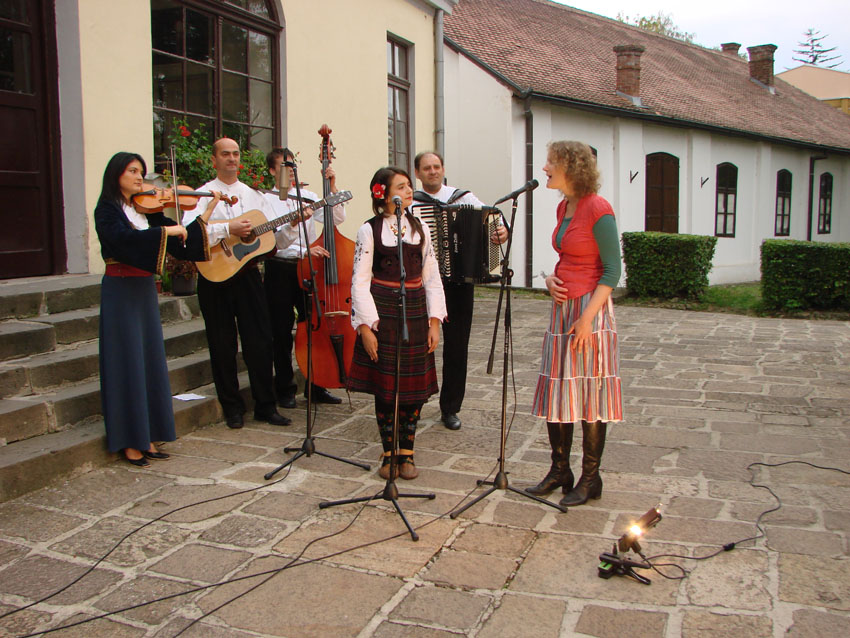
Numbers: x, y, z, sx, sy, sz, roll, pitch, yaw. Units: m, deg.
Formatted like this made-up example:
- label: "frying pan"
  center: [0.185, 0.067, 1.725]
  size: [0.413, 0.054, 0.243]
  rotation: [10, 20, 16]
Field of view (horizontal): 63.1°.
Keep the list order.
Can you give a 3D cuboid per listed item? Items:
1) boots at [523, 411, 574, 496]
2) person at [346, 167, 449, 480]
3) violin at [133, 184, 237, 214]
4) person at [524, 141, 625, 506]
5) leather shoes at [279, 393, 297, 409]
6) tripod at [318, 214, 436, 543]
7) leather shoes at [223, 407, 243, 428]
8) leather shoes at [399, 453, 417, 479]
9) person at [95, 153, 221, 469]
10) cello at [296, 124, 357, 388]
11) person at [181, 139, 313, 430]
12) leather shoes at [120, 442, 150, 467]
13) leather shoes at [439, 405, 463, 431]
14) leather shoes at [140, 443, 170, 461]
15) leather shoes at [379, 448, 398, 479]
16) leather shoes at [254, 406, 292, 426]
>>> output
- label: "boots"
  center: [0.764, 0.849, 4.239]
  size: [0.307, 0.440, 0.140]
  rotation: [-3, 0, -9]
- label: "person"
  center: [-0.182, 0.012, 4.390]
  size: [0.727, 1.936, 0.626]
  rotation: [0, 1, -29]
- label: "violin"
  center: [-1.566, -0.773, 4.472]
  size: [0.440, 0.175, 0.483]
  rotation: [5, 11, 24]
- label: "person"
  center: [0.896, 0.092, 3.988]
  size: [0.832, 1.881, 0.713]
  rotation: [-2, 3, -32]
- label: "leather shoes"
  center: [-1.153, 0.692, 5.868]
  size: [0.128, 0.113, 0.109]
  rotation: [1, 4, 13]
- label: "tripod"
  center: [-0.185, 0.288, 4.000]
  size: [0.812, 1.722, 0.728]
  rotation: [4, 11, -8]
- label: "leather shoes"
  center: [-1.469, 0.768, 5.344]
  size: [0.078, 0.082, 0.216]
  rotation: [1, 9, -20]
- label: "leather shoes"
  center: [-0.111, 0.951, 4.512]
  size: [0.096, 0.068, 0.167]
  rotation: [-3, 12, -11]
- label: "person"
  center: [-1.784, -0.017, 4.581]
  size: [0.720, 2.210, 0.774]
  rotation: [1, 2, 20]
- label: "cello"
  center: [-0.718, -0.424, 5.300]
  size: [0.648, 1.953, 0.648]
  rotation: [0, 16, -10]
- label: "person"
  center: [-1.372, -0.224, 5.377]
  size: [1.097, 2.274, 0.673]
  rotation: [-3, 13, -18]
- label: "leather shoes"
  center: [-1.931, 0.907, 4.634]
  size: [0.265, 0.101, 0.091]
  rotation: [6, 8, 42]
- label: "leather shoes"
  center: [0.210, 0.787, 5.449]
  size: [0.088, 0.093, 0.233]
  rotation: [-2, 5, -12]
- label: "leather shoes"
  center: [-1.860, 0.903, 4.737]
  size: [0.228, 0.090, 0.075]
  rotation: [1, 4, 29]
- label: "leather shoes"
  center: [-0.210, 0.910, 4.317]
  size: [0.159, 0.104, 0.276]
  rotation: [-1, 5, -11]
- label: "leather shoes"
  center: [-1.203, 0.770, 5.510]
  size: [0.343, 0.136, 0.117]
  rotation: [0, 5, 30]
